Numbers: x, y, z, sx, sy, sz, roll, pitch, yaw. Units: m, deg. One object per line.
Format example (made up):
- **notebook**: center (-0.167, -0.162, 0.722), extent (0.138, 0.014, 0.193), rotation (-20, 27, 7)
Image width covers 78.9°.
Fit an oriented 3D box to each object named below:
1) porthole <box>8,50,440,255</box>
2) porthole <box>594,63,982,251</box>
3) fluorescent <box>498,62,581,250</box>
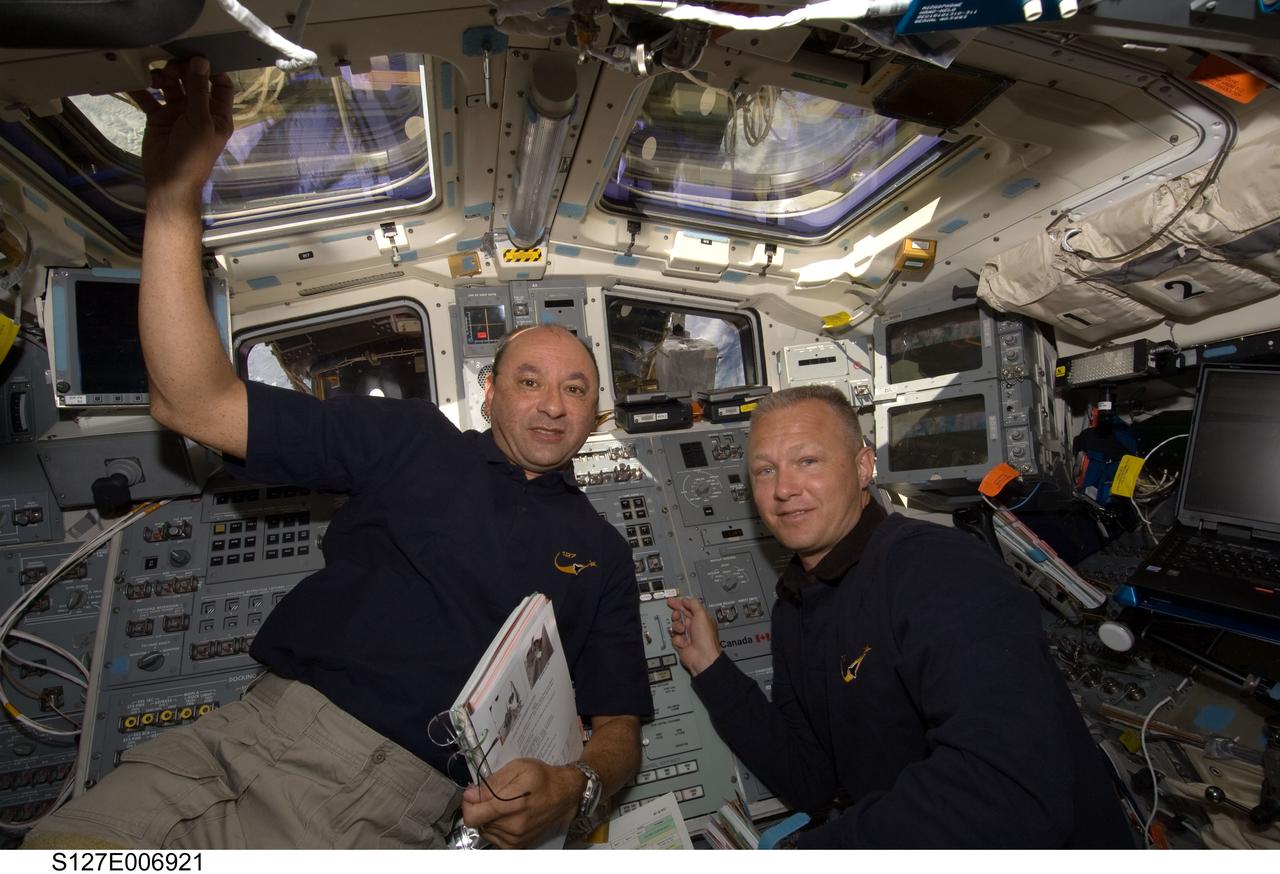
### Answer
- **porthole**: center (-2.066, -1.525, 4.094), extent (1.434, 0.331, 0.932), rotation (-11, -21, -10)
- **porthole**: center (0.764, -1.656, 4.661), extent (1.062, 0.223, 0.908), rotation (7, -22, -16)
- **fluorescent**: center (-0.575, -1.388, 4.241), extent (0.213, 0.912, 0.184), rotation (26, 29, 13)
